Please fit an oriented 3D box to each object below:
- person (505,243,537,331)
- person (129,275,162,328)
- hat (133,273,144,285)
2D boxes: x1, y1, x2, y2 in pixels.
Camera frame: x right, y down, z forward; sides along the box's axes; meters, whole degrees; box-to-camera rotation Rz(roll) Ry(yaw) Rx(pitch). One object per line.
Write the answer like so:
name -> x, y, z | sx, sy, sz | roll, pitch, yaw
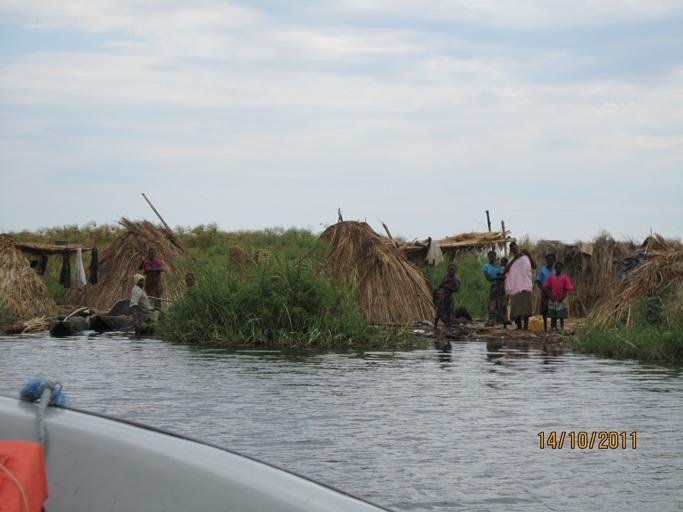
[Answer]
person -> 3.589, 0.647, 25.630 | 0.565, 1.801, 1.065 | 3, 12, 7
person -> -4.205, 0.946, 26.750 | 0.695, 1.081, 0.653 | -6, -9, 28
hat -> -4.431, 0.488, 27.321 | 0.234, 0.285, 0.296 | 1, 9, -26
